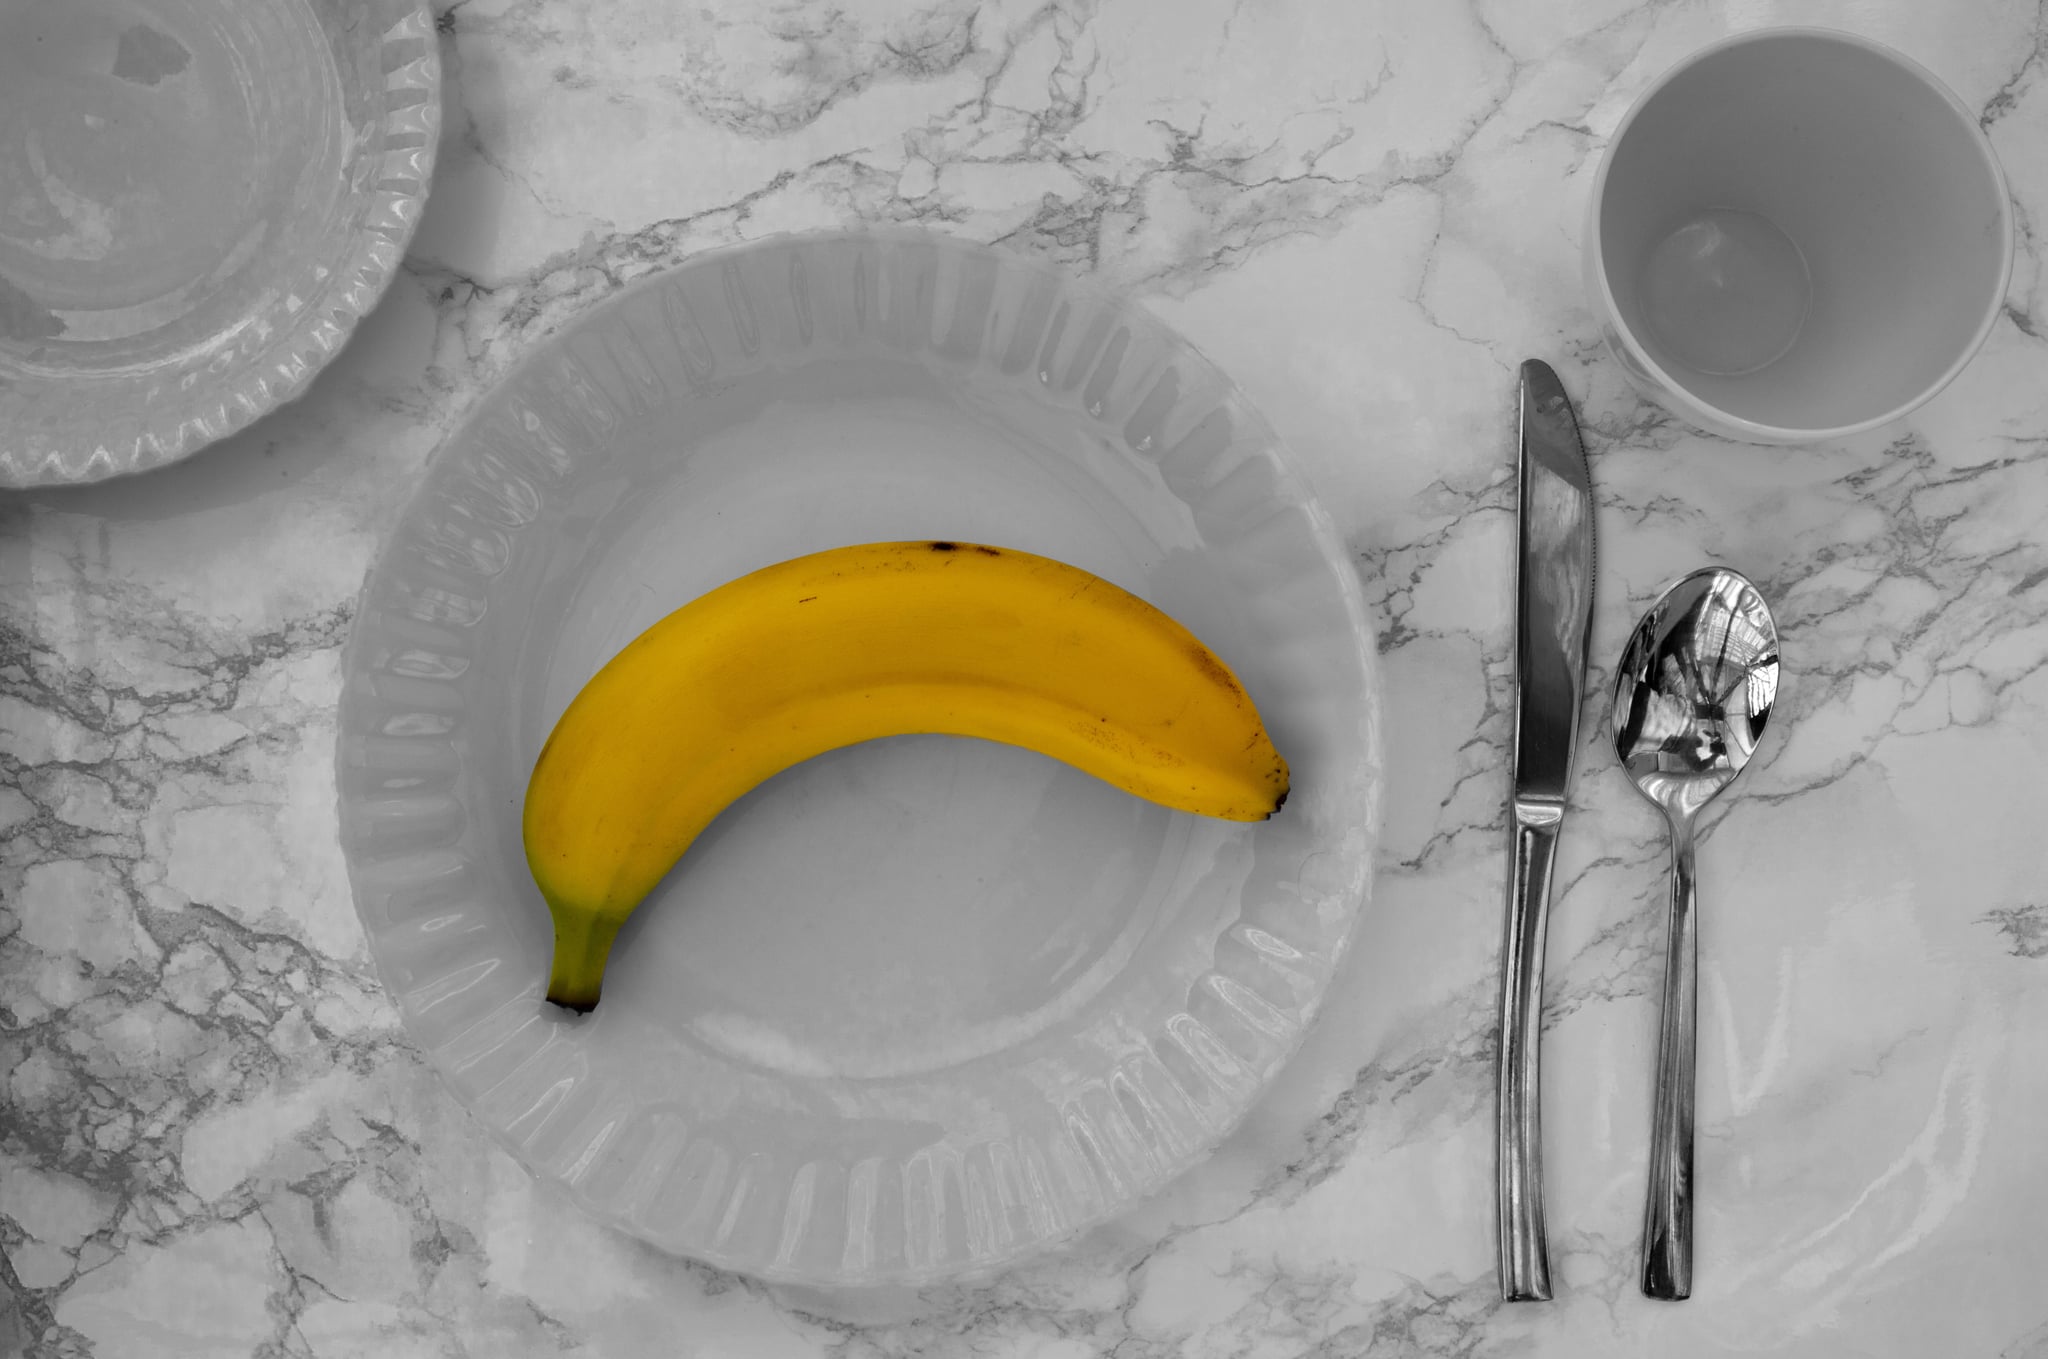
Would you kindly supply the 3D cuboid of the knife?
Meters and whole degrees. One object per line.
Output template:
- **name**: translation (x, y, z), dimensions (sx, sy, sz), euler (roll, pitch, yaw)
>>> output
- **knife**: translation (0.364, 0.087, 1.384), dimensions (0.062, 0.044, 0.662), euler (0, -89, 12)

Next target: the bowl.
- **bowl**: translation (0.510, -0.294, 1.329), dimensions (0.225, 0.187, 0.283), euler (0, -83, 12)

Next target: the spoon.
- **spoon**: translation (0.410, 0.124, 1.242), dimensions (0.108, 0.576, 0.073), euler (-4, -56, 24)
